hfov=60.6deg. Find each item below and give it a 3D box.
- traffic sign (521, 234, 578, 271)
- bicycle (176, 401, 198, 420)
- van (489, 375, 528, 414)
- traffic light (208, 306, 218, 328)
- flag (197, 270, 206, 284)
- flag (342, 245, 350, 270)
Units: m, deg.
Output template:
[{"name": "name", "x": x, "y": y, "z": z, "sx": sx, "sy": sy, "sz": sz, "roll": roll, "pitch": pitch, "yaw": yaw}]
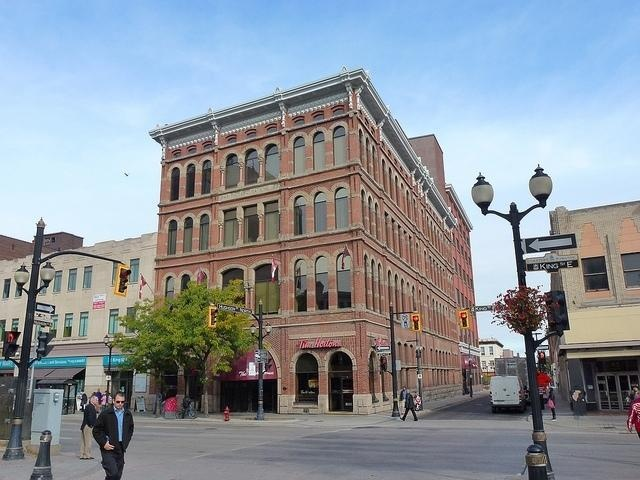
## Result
[{"name": "traffic sign", "x": 6.803, "y": 0.385, "z": 16.241, "sx": 1.702, "sy": 1.274, "sz": 0.061, "roll": -1, "pitch": 1, "yaw": 24}, {"name": "bicycle", "x": -9.150, "y": 11.754, "z": 37.511, "sx": 1.608, "sy": 1.023, "sz": 1.028, "roll": -33, "pitch": -43, "yaw": 22}, {"name": "van", "x": 13.732, "y": 10.993, "z": 40.476, "sx": 2.369, "sy": 2.672, "sz": 4.656, "roll": -4, "pitch": -7, "yaw": 17}, {"name": "traffic light", "x": -6.519, "y": 4.579, "z": 33.414, "sx": 0.431, "sy": 1.268, "sz": 0.831, "roll": 3, "pitch": -18, "yaw": -18}, {"name": "flag", "x": -9.906, "y": 2.996, "z": 45.827, "sx": 0.915, "sy": 1.051, "sz": 0.341, "roll": -7, "pitch": -17, "yaw": 16}, {"name": "flag", "x": 1.937, "y": 1.262, "z": 40.498, "sx": 0.564, "sy": 1.621, "sz": 1.180, "roll": -3, "pitch": -17, "yaw": 1}]
